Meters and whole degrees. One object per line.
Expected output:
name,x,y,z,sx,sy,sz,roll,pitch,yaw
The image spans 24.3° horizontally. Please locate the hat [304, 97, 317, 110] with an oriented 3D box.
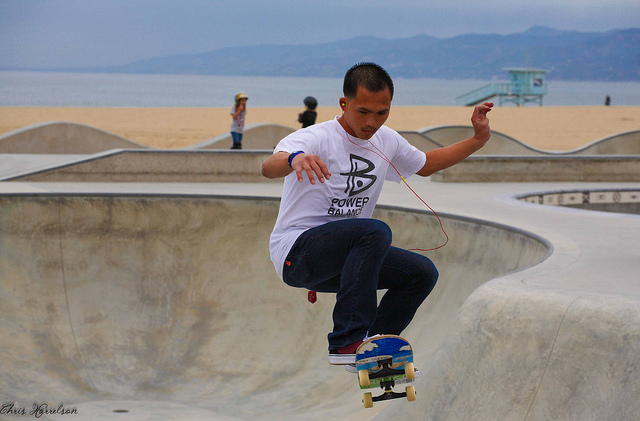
hat,-0.294,-4.453,62.442,0.419,0.460,0.510,-19,30,-37
